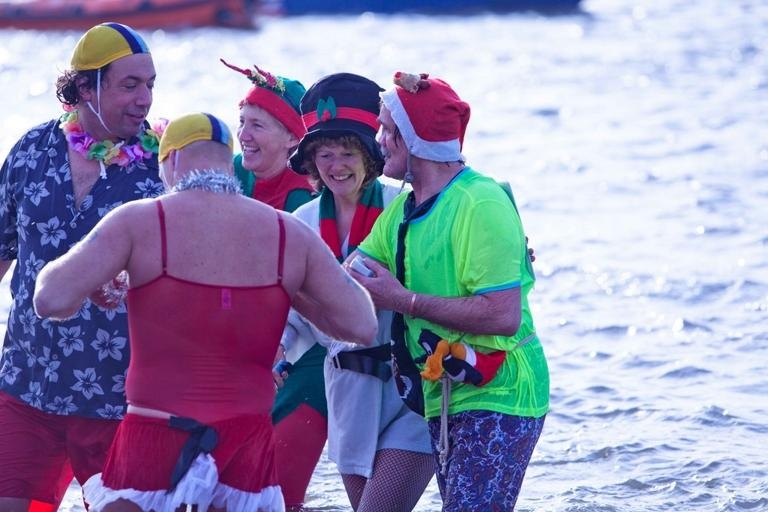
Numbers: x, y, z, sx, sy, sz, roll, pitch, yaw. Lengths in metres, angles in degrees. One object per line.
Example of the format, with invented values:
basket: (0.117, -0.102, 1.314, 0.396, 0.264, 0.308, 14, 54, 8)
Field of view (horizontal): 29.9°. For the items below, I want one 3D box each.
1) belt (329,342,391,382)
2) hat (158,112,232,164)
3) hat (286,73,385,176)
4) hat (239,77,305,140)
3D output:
belt: (-0.185, 0.899, 12.266, 0.407, 0.160, 0.327, -2, 0, 12)
hat: (-1.502, -0.977, 11.157, 0.465, 0.348, 0.356, -28, -4, 29)
hat: (-0.427, -1.098, 12.815, 0.846, 0.832, 0.906, -2, -17, 6)
hat: (-0.963, -1.404, 13.278, 0.625, 0.341, 0.490, 32, -12, -7)
